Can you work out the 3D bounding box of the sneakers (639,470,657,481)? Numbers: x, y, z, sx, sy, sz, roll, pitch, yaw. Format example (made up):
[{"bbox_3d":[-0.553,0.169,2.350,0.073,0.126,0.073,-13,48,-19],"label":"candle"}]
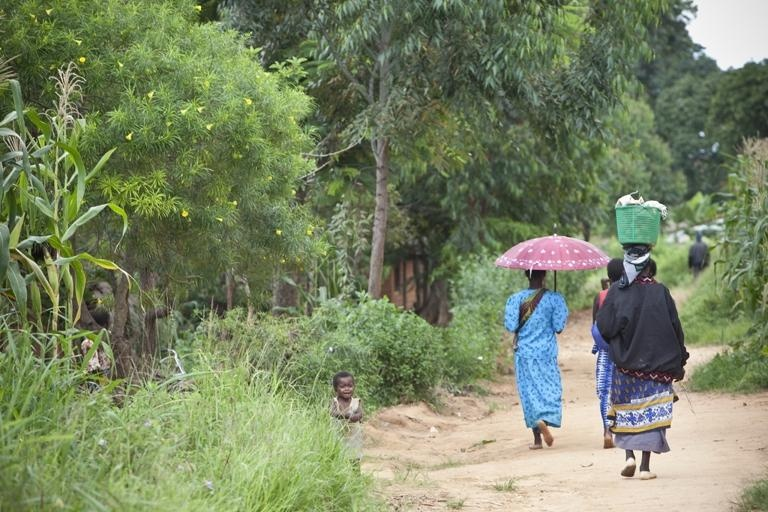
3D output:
[{"bbox_3d":[3.217,2.638,14.068,0.182,0.088,0.100,-6,12,-20],"label":"sneakers"}]

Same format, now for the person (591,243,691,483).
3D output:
[{"bbox_3d":[3.151,1.285,14.193,1.074,2.769,0.703,9,11,23],"label":"person"}]

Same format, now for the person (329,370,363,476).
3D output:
[{"bbox_3d":[-0.472,1.989,14.158,0.434,1.166,1.378,5,11,-1],"label":"person"}]

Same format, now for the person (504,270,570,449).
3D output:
[{"bbox_3d":[2.122,1.369,15.696,0.630,2.276,1.088,-3,13,-35],"label":"person"}]

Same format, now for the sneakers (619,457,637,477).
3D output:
[{"bbox_3d":[3.008,2.555,14.171,0.181,0.250,0.218,8,11,14],"label":"sneakers"}]

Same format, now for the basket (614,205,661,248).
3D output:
[{"bbox_3d":[3.189,-0.380,14.476,0.475,0.408,0.484,-2,-5,28],"label":"basket"}]
